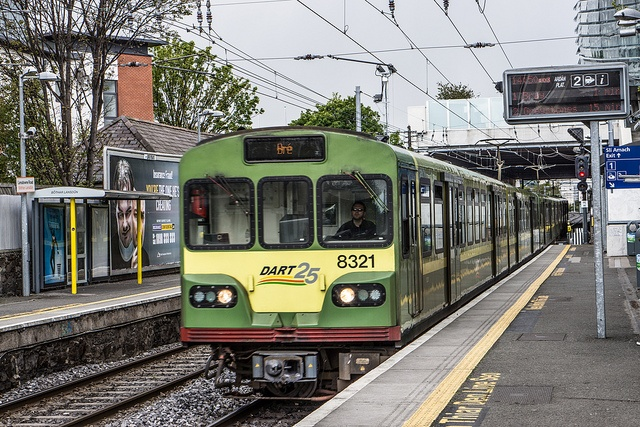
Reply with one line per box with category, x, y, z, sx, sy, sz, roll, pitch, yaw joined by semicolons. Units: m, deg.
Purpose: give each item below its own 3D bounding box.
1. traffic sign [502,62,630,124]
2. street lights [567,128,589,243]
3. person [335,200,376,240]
traffic sign;4.611;-2.263;12.189;2.263;0.699;0.287;-2;1;10
street lights;7.613;-0.711;19.187;0.815;3.544;0.554;2;5;28
person;0.649;0.092;10.794;0.799;0.598;0.386;3;-1;14
